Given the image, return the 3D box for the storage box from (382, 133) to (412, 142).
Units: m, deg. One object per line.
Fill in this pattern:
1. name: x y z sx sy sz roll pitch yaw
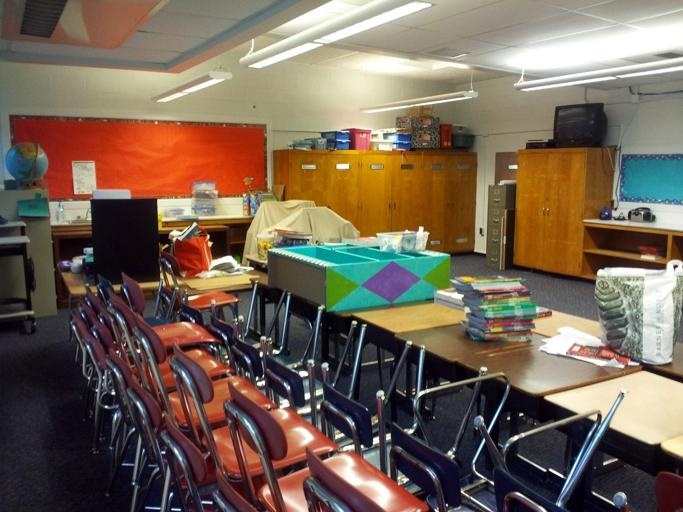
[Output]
1. storage box: 1.148 -2.448 10.498 0.247 0.113 0.337 -3 6 -23

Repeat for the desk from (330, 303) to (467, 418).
1. desk: 0.612 0.770 3.861 0.867 0.657 0.690 -4 6 -20

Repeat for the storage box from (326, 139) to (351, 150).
1. storage box: -0.056 -2.151 9.888 0.297 0.109 0.216 -2 6 -27

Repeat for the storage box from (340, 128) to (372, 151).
1. storage box: 0.327 -2.323 10.229 0.445 0.410 0.529 -3 9 -24

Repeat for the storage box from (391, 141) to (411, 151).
1. storage box: 1.268 -2.277 10.531 0.390 0.180 0.087 -6 12 -29

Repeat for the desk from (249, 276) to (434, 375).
1. desk: 0.019 0.559 4.079 0.463 0.431 0.853 -13 26 -40

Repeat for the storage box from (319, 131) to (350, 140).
1. storage box: -0.124 -2.343 9.861 0.246 0.116 0.336 -3 8 -23

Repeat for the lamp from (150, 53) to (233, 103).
1. lamp: -2.307 -2.641 7.504 0.316 0.226 1.605 -36 22 -24

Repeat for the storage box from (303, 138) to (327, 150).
1. storage box: -0.504 -2.155 9.722 0.476 0.221 0.253 -2 11 -11

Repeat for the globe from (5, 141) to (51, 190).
1. globe: -4.333 -1.224 6.841 0.483 0.581 0.229 0 11 4

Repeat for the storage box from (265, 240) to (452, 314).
1. storage box: 0.234 0.180 4.242 0.853 0.284 0.807 -2 7 -31

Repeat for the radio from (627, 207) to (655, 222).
1. radio: 5.101 -0.683 8.497 0.398 0.226 0.415 7 13 35

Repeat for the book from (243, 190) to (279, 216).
1. book: -1.533 -0.985 9.355 0.633 0.428 0.548 -5 12 -22

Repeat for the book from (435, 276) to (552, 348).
1. book: 0.964 0.340 3.533 0.446 0.282 0.604 1 7 -19

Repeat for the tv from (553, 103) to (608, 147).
1. tv: 4.274 -2.294 8.871 0.439 0.672 0.785 -5 6 -38
